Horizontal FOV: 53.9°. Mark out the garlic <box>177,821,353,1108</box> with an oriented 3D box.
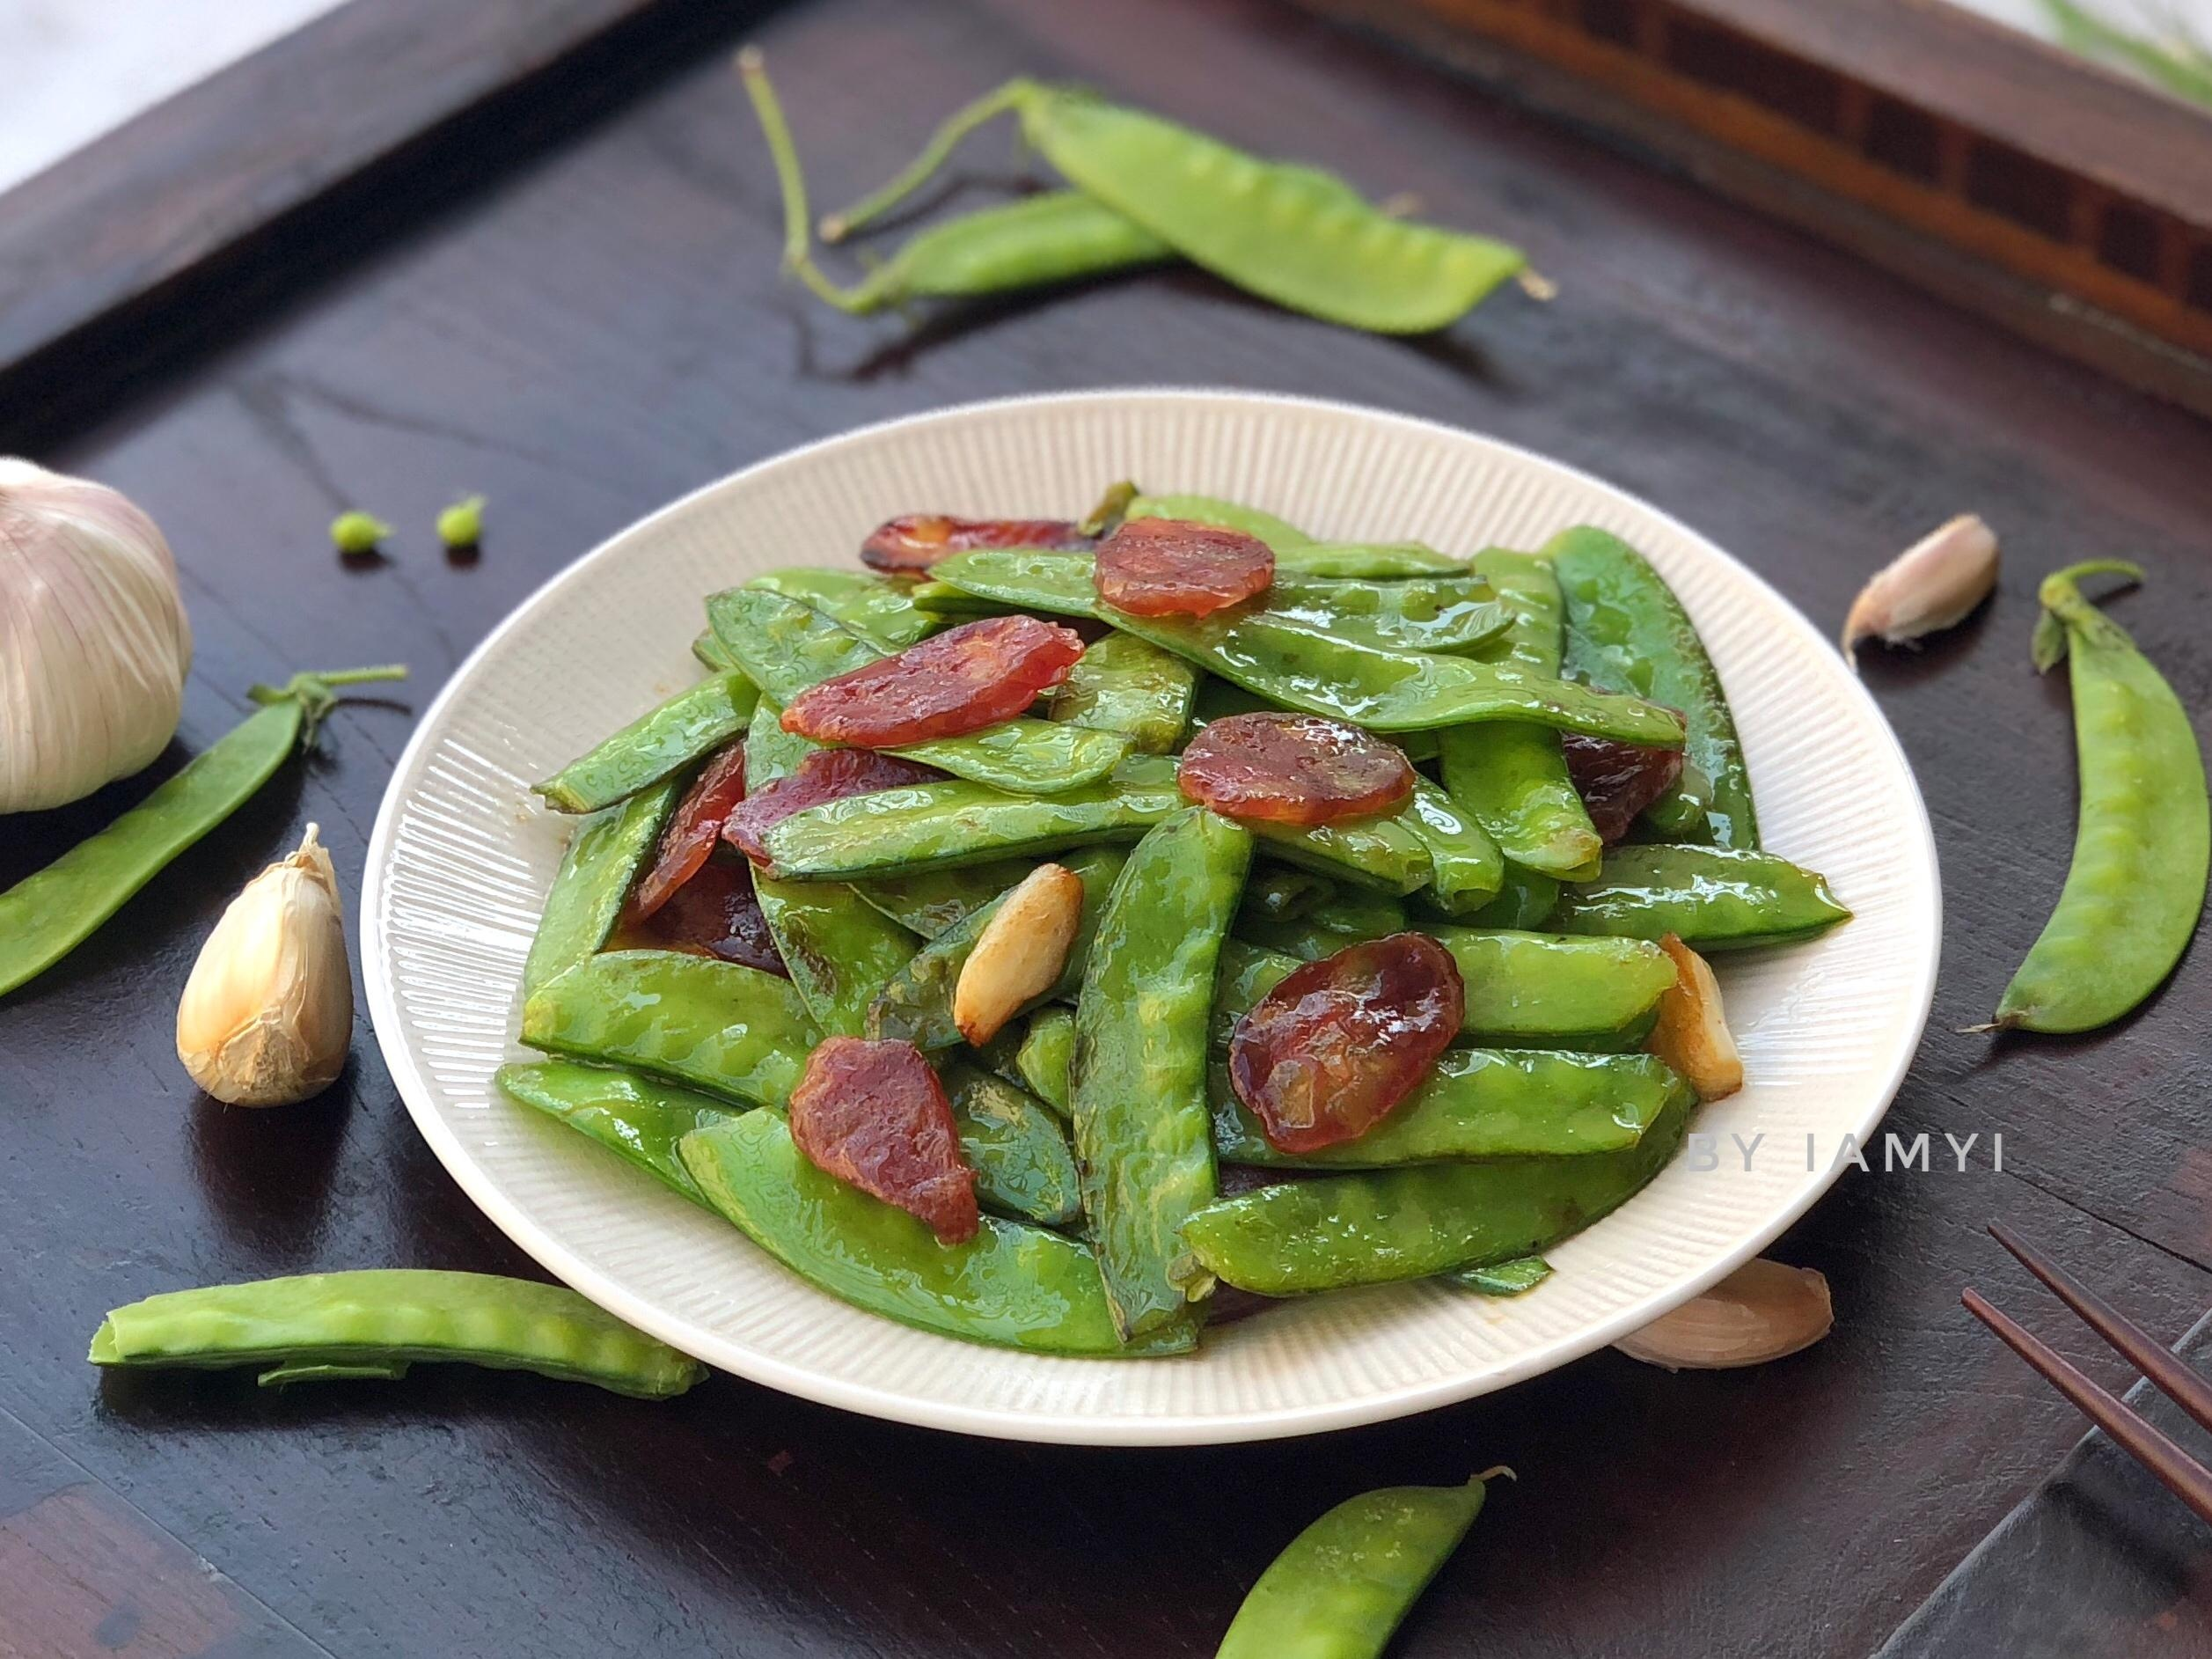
[{"bbox_3d":[-1.005,0.174,2.725,0.222,0.288,0.246,-14,34,-24],"label":"garlic"}]
